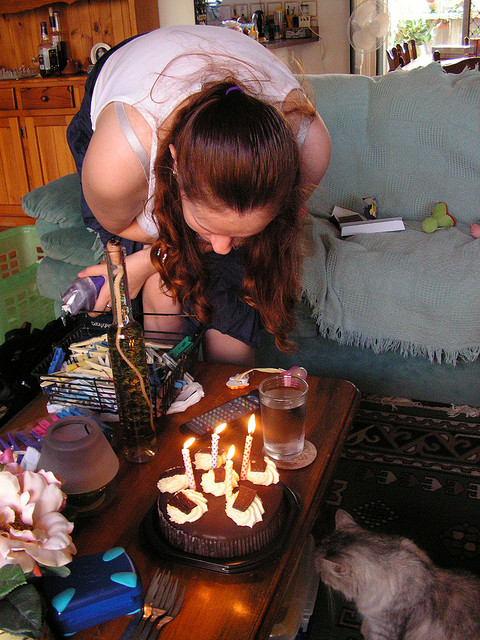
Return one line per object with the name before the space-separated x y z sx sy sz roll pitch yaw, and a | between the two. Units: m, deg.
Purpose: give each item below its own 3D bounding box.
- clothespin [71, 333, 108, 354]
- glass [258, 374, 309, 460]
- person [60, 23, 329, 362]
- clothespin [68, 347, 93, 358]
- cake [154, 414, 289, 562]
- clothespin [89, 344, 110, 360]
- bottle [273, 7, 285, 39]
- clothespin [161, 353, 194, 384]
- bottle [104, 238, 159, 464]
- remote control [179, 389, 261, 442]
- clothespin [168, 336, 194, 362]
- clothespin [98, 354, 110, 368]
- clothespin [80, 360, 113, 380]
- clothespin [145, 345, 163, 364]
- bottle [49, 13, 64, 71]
clothespin | -0.308 0.049 0.997 0.061 0.012 0.025 -36 62 1
glass | 0.071 0.160 0.761 0.070 0.107 0.069 -13 18 -30
person | -0.108 -0.251 1.243 0.495 0.936 0.729 -11 50 -7
clothespin | -0.318 0.061 0.970 0.052 0.022 0.016 6 10 33
cake | -0.025 0.215 0.619 0.159 0.102 0.155 -10 16 -41
clothespin | -0.269 0.061 0.940 0.047 0.018 0.037 12 25 39
bottle | 0.438 -3.325 5.427 0.127 0.355 0.332 -2 21 6
clothespin | -0.116 0.103 0.948 0.016 0.057 0.060 -39 22 10
bottle | -0.171 0.047 0.730 0.062 0.354 0.135 -11 21 -15
remote control | -0.033 0.163 0.849 0.054 0.022 0.167 18 30 39
clothespin | -0.117 0.055 0.991 0.029 0.013 0.053 18 52 44
clothespin | -0.258 0.077 0.925 0.017 0.007 0.053 35 7 -11
clothespin | -0.259 0.093 0.888 0.044 0.042 0.017 -2 38 16
clothespin | -0.167 0.067 0.948 0.014 0.019 0.060 -28 37 -11
bottle | -1.359 -2.073 3.626 0.058 0.379 0.051 -11 21 -16
